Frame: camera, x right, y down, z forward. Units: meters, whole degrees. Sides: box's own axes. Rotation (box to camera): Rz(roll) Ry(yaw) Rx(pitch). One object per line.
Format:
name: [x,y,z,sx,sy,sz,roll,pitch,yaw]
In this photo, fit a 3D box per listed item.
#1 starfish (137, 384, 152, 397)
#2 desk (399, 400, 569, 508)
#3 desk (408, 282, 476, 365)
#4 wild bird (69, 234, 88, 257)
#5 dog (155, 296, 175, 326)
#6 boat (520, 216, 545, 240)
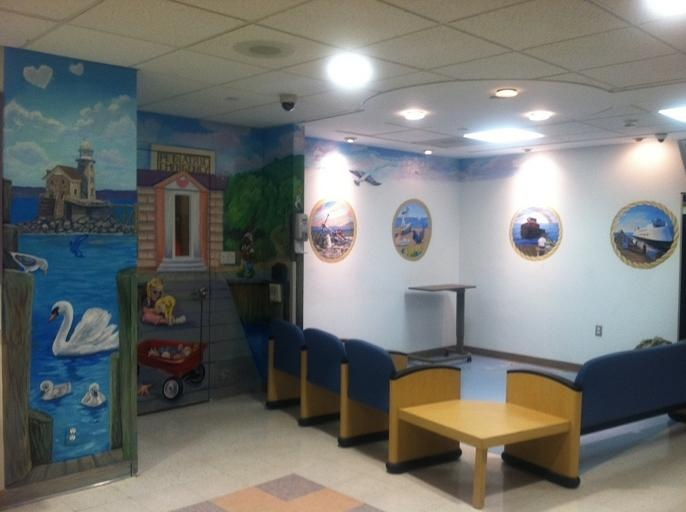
starfish: [-2.319,1.569,6.208,0.126,0.035,0.125,0,1,-20]
desk: [1.273,1.588,4.943,1.352,0.682,1.261,2,-1,-37]
desk: [1.546,1.157,9.152,1.325,1.430,1.002,5,-5,-40]
wild bird: [-2.241,-0.091,4.487,0.092,0.141,0.204,7,-34,-5]
dog: [-2.111,0.651,6.381,0.132,0.307,0.236,0,20,38]
boat: [3.058,-0.444,8.588,0.044,0.374,0.431,-4,7,-41]
